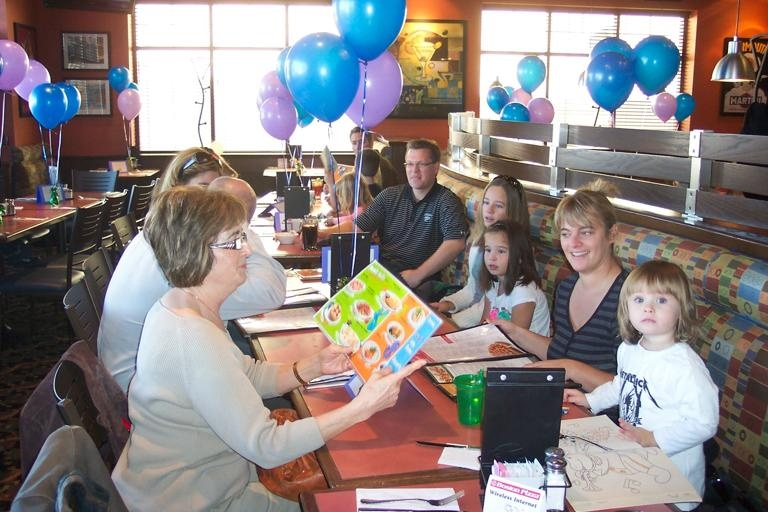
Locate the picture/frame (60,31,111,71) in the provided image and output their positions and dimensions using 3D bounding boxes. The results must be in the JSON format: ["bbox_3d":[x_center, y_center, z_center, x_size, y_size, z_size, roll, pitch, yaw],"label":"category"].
[{"bbox_3d":[-5.706,-3.924,9.549,0.853,0.763,0.038,0,10,-8],"label":"picture/frame"}]

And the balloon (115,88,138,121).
[{"bbox_3d":[-4.482,-2.690,8.854,0.332,0.511,0.270,1,13,17],"label":"balloon"}]

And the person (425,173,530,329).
[{"bbox_3d":[0.669,-0.055,3.427,0.504,0.822,0.620,5,11,35],"label":"person"}]

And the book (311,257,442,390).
[{"bbox_3d":[0.030,0.279,1.903,0.475,0.458,0.125,46,11,30],"label":"book"}]

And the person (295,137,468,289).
[{"bbox_3d":[0.074,-0.349,4.148,1.138,1.268,0.996,3,4,-6],"label":"person"}]

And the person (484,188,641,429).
[{"bbox_3d":[0.885,0.196,2.425,0.726,1.037,0.591,4,7,40],"label":"person"}]

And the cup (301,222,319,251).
[{"bbox_3d":[-0.535,-0.144,3.880,0.161,0.264,0.169,3,3,0],"label":"cup"}]

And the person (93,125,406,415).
[{"bbox_3d":[-0.970,0.026,3.015,1.116,2.017,1.158,-9,26,-22],"label":"person"}]

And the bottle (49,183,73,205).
[{"bbox_3d":[-3.944,-0.744,6.110,0.199,0.223,0.378,1,-6,5],"label":"bottle"}]
